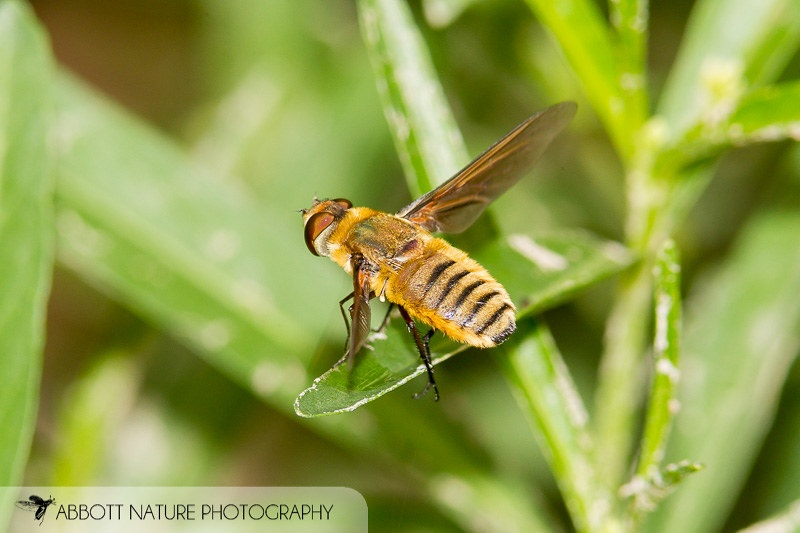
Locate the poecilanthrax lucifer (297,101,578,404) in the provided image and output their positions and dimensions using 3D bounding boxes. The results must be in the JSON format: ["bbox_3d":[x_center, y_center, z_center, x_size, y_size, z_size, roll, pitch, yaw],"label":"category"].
[{"bbox_3d":[0.104,0.074,1.449,0.543,0.369,0.662,-12,34,8],"label":"poecilanthrax lucifer"}]
